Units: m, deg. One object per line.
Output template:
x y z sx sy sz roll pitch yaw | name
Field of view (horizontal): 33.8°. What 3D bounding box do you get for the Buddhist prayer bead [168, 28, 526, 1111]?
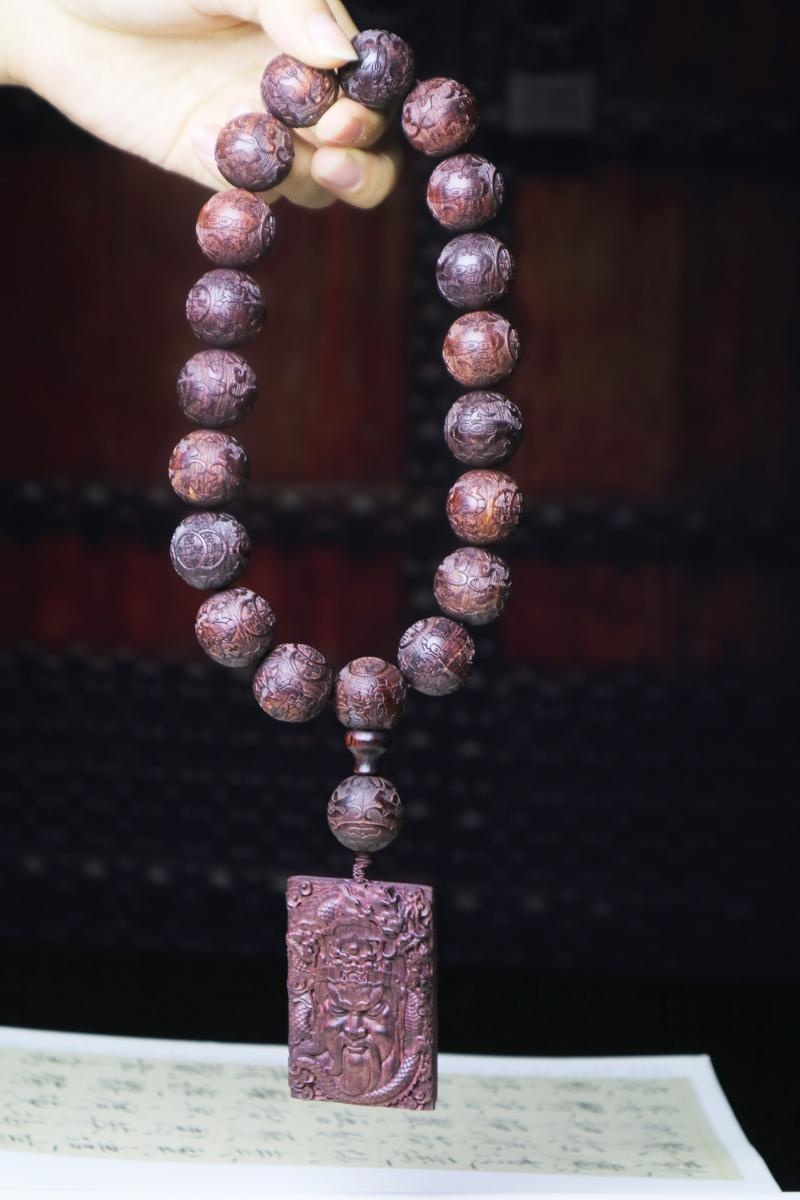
-0.048 -0.027 1.114 0.291 0.874 0.266 3 12 14 | Buddhist prayer bead
